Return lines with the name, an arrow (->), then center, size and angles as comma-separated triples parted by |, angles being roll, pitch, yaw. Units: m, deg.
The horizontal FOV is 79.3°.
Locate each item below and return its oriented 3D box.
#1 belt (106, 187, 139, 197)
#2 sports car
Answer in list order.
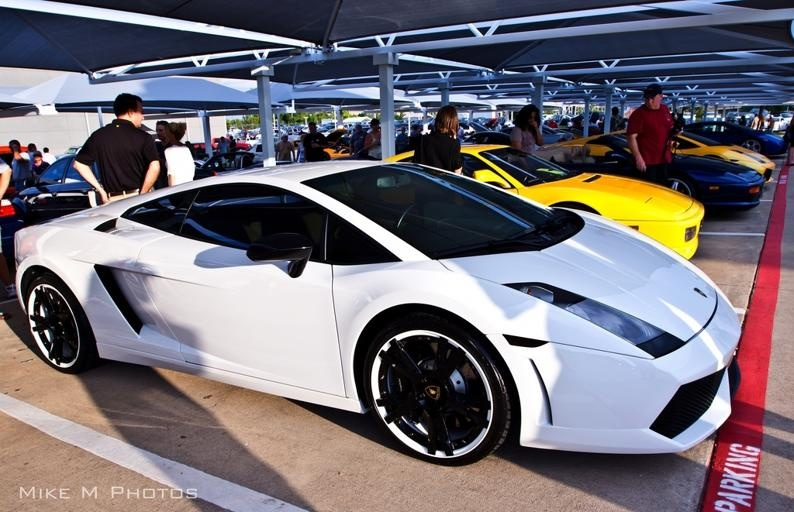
belt -> -3.439, -0.762, 5.989 | 0.309, 0.178, 0.263 | -1, 8, -7
sports car -> -0.325, 0.123, 3.657 | 4.865, 1.089, 2.414 | 4, 14, 21
